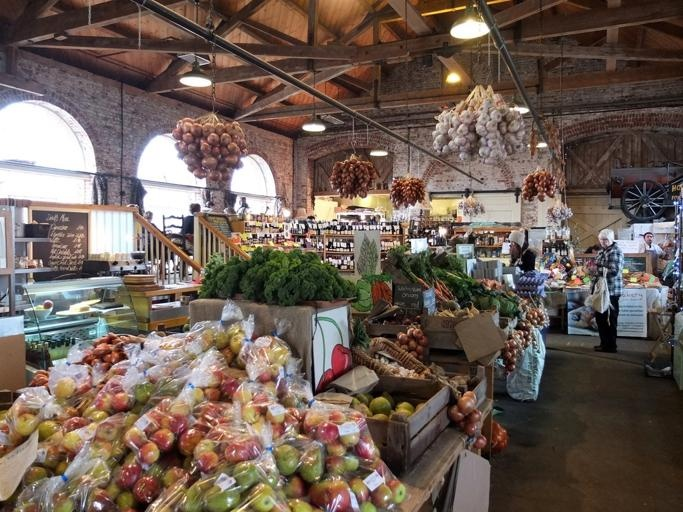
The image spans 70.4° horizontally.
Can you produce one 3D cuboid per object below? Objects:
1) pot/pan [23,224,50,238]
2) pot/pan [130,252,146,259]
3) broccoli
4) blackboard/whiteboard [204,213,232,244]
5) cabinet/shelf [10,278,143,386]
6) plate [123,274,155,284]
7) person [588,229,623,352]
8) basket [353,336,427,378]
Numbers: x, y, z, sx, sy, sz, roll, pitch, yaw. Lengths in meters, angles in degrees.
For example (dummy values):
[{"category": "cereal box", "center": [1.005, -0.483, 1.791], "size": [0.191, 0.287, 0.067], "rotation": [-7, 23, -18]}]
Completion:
[{"category": "pot/pan", "center": [-4.572, -0.370, 7.241], "size": [0.201, 0.187, 0.306], "rotation": [2, 1, 17]}, {"category": "pot/pan", "center": [-3.389, -0.001, 8.088], "size": [0.190, 0.124, 0.296], "rotation": [-2, 5, -18]}, {"category": "broccoli", "center": [-0.330, 0.130, 2.782], "size": [0.484, 0.198, 0.496], "rotation": [1, -2, -23]}, {"category": "blackboard/whiteboard", "center": [-2.855, -0.704, 11.471], "size": [0.189, 0.646, 0.956], "rotation": [-12, -12, 25]}, {"category": "cabinet/shelf", "center": [-2.196, 0.550, 4.180], "size": [0.742, 0.776, 0.465], "rotation": [-7, 19, -19]}, {"category": "plate", "center": [-2.372, 0.290, 5.699], "size": [0.229, 0.084, 0.243], "rotation": [2, 0, 17]}, {"category": "person", "center": [4.021, 0.521, 7.408], "size": [0.490, 1.845, 0.586], "rotation": [4, 5, 39]}, {"category": "basket", "center": [0.350, 0.696, 3.143], "size": [0.334, 0.257, 0.365], "rotation": [13, 4, 9]}]
